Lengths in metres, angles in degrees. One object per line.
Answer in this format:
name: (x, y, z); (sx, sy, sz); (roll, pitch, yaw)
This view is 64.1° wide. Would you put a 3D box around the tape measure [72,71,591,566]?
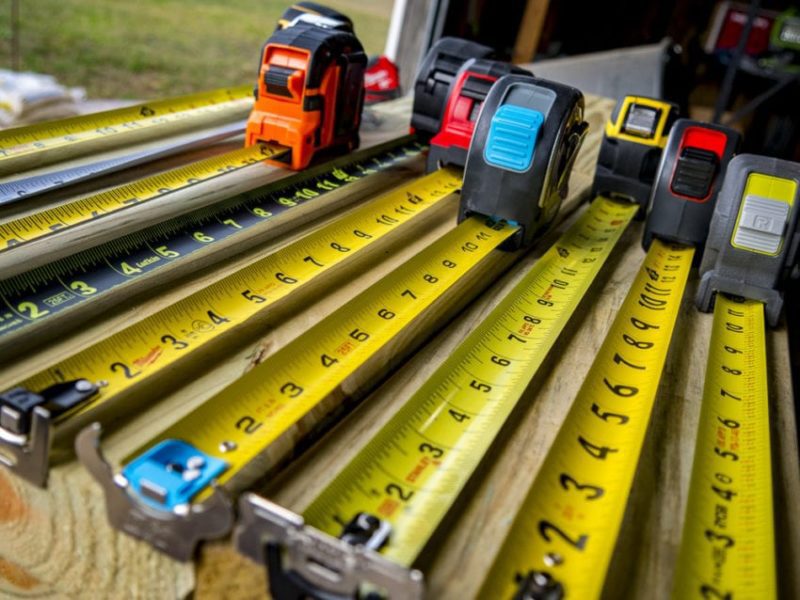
tape measure: (0.032, -0.097, 1.470); (0.356, 0.392, 1.509); (21, 40, 27)
